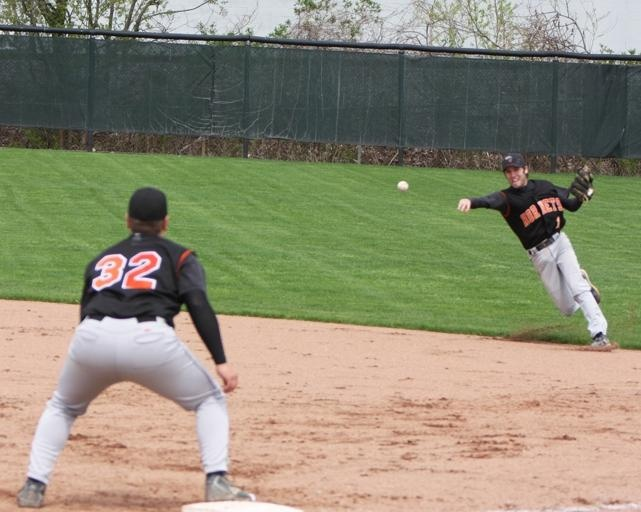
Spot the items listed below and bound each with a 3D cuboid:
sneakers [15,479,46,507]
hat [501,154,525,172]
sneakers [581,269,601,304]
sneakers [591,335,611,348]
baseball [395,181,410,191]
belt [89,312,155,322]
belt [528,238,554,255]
[{"bbox_3d":[-3.306,2.761,15.125,0.221,0.170,0.405,21,20,-14],"label":"sneakers"},{"bbox_3d":[2.871,-1.389,19.445,0.256,0.179,0.337,-6,0,18],"label":"hat"},{"bbox_3d":[4.217,0.493,20.460,0.223,0.529,0.185,-28,-7,-18],"label":"sneakers"},{"bbox_3d":[4.092,1.258,19.073,0.284,0.206,0.190,3,7,10],"label":"sneakers"},{"bbox_3d":[1.770,-1.477,27.998,0.239,0.115,0.224,0,12,4],"label":"baseball"},{"bbox_3d":[-2.256,0.703,14.975,0.800,0.086,0.059,2,7,2],"label":"belt"},{"bbox_3d":[3.284,-0.144,19.482,0.279,0.067,0.272,-26,-3,22],"label":"belt"}]
